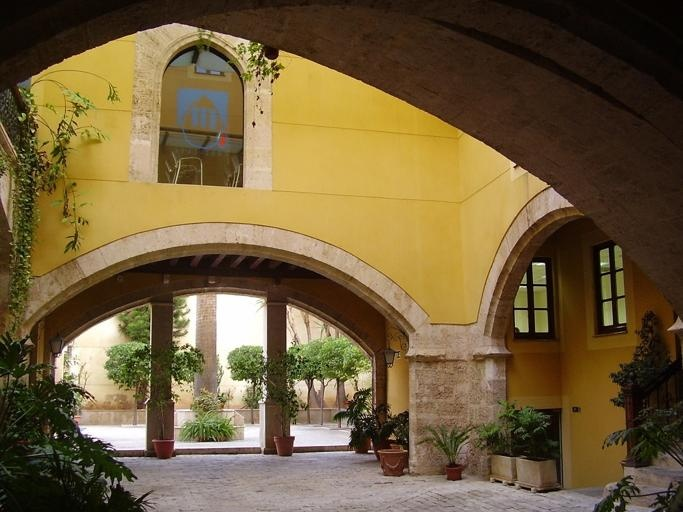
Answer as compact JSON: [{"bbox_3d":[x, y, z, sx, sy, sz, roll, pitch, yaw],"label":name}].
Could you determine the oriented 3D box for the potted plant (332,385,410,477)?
[{"bbox_3d":[0.638,3.111,12.426,1.274,0.989,1.346,0,-23,-7],"label":"potted plant"}]

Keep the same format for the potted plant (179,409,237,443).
[{"bbox_3d":[-3.123,4.051,16.133,0.767,0.460,0.788,0,1,-27],"label":"potted plant"}]

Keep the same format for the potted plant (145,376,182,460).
[{"bbox_3d":[-3.412,2.940,13.033,0.575,1.631,0.540,0,-11,-4],"label":"potted plant"}]

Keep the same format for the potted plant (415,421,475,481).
[{"bbox_3d":[1.559,2.837,10.146,0.732,0.676,0.781,-2,-8,2],"label":"potted plant"}]

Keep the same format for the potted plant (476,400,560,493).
[{"bbox_3d":[2.484,2.620,9.498,0.676,1.108,1.316,11,-9,-23],"label":"potted plant"}]

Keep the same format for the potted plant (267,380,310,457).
[{"bbox_3d":[-1.100,3.232,13.549,0.549,1.338,0.631,1,-13,-12],"label":"potted plant"}]
